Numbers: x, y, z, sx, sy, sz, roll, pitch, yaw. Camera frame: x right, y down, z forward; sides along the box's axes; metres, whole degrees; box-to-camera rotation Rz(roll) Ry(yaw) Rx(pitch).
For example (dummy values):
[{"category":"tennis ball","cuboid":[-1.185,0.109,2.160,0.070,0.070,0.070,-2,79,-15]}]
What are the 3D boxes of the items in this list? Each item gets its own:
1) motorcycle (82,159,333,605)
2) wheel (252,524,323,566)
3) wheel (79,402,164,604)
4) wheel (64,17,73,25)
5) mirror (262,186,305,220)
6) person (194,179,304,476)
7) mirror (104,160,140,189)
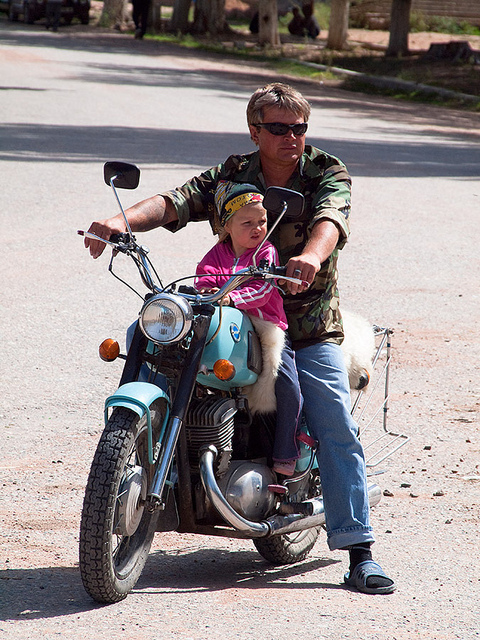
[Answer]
[{"category":"motorcycle","cuboid":[-0.118,0.285,3.631,1.066,1.710,1.193,5,11,-7]},{"category":"wheel","cuboid":[0.203,0.984,4.108,0.323,0.062,0.267,-1,2,24]},{"category":"wheel","cuboid":[-0.409,0.645,3.297,0.214,0.714,0.453,8,11,4]},{"category":"wheel","cuboid":[-7.838,-13.526,43.223,0.343,0.219,0.336,-1,7,0]},{"category":"mirror","cuboid":[0.151,-0.416,3.385,0.138,0.096,0.135,5,9,-2]},{"category":"person","cuboid":[0.050,0.033,3.751,0.503,1.139,0.890,6,10,-3]},{"category":"mirror","cuboid":[-0.490,-0.587,3.878,0.135,0.108,0.340,4,8,-9]}]
